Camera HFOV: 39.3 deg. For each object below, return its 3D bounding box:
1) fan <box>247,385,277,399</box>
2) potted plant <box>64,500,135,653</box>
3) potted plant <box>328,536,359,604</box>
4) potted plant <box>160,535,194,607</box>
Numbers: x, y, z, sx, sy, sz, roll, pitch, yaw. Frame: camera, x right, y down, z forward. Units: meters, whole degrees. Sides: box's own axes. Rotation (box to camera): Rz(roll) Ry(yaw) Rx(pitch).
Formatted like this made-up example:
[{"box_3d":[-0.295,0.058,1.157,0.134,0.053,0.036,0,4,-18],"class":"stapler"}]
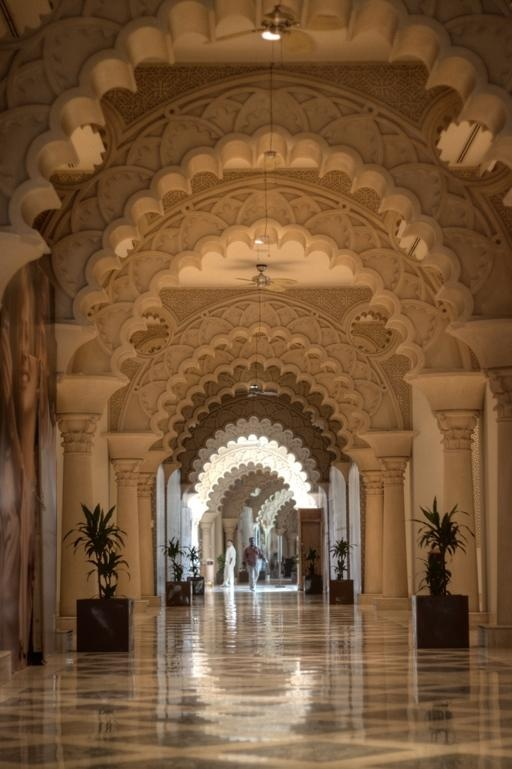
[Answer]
[{"box_3d":[0.135,0.254,21.544,0.655,0.359,1.520,-5,3,-29],"class":"fan"},{"box_3d":[-1.589,2.030,7.464,0.711,1.386,0.609,6,-16,-37],"class":"potted plant"},{"box_3d":[2.036,4.508,17.319,0.585,1.496,0.596,2,-11,9],"class":"potted plant"},{"box_3d":[-1.997,4.821,18.367,0.753,1.746,0.787,-21,-26,37],"class":"potted plant"}]
